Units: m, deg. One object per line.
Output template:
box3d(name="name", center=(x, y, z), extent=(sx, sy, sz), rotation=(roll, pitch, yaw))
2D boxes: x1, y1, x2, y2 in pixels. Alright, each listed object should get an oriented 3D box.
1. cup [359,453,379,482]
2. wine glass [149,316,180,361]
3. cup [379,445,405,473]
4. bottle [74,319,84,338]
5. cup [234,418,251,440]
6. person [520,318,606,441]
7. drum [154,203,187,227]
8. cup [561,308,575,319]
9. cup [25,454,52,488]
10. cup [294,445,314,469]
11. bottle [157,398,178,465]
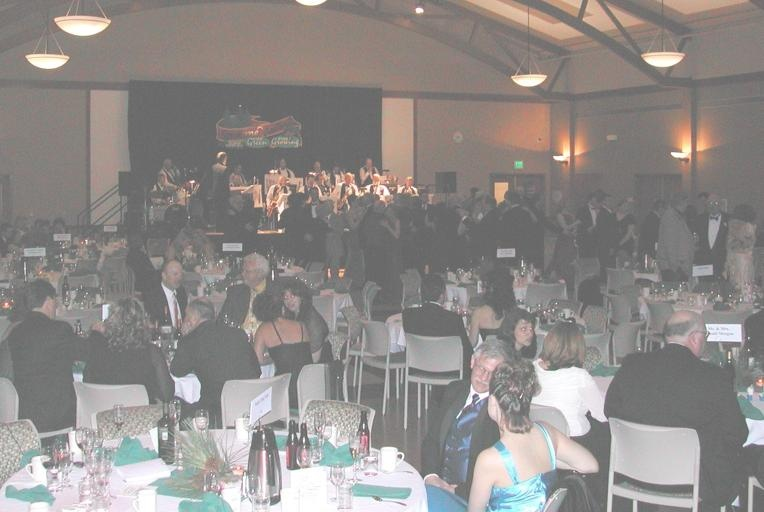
box3d(name="cup", center=(-0.092, 1.482, 5.299), extent=(0.112, 0.130, 0.132), rotation=(1, -2, 1))
box3d(name="wine glass", center=(-2.128, 0.818, 7.412), extent=(0.284, 0.539, 0.285), rotation=(2, 14, 5))
box3d(name="cup", center=(0.087, 1.438, 5.406), extent=(0.201, 0.179, 0.129), rotation=(1, -2, -9))
box3d(name="bottle", center=(-3.297, 0.792, 8.286), extent=(0.104, 0.106, 0.230), rotation=(9, 3, -17))
box3d(name="cup", center=(-1.035, 1.286, 5.657), extent=(0.149, 0.151, 0.119), rotation=(-1, 5, -13))
box3d(name="person", center=(1.584, 1.014, 6.450), extent=(0.890, 0.977, 0.918), rotation=(1, 11, 13))
box3d(name="drum", center=(-4.368, -0.861, 15.817), extent=(0.515, 0.415, 0.701), rotation=(-3, 4, -24))
box3d(name="cup", center=(2.195, 0.686, 8.954), extent=(0.129, 0.089, 0.187), rotation=(2, 5, 11))
box3d(name="cup", center=(-2.341, 1.449, 5.174), extent=(0.226, 0.216, 0.141), rotation=(-1, 6, -27))
box3d(name="cup", center=(-0.513, 1.385, 5.271), extent=(0.139, 0.151, 0.135), rotation=(1, 0, 0))
box3d(name="bottle", center=(-1.524, 1.264, 5.410), extent=(0.140, 0.449, 0.524), rotation=(1, 0, -16))
